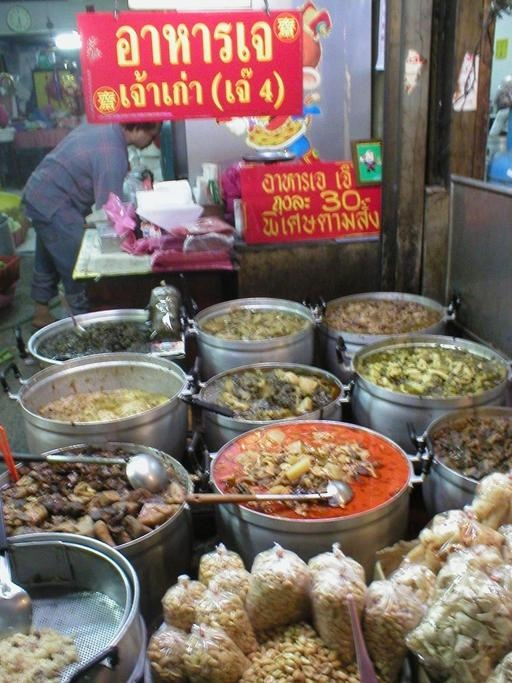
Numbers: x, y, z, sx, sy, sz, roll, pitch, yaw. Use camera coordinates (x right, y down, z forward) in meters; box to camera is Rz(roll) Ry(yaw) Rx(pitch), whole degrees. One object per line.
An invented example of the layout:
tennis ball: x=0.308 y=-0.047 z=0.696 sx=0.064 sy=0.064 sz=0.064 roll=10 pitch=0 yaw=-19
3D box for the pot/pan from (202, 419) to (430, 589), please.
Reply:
pot/pan: x=0.293 y=0.584 z=1.932 sx=0.627 sy=0.234 sz=0.571 roll=-1 pitch=23 yaw=3

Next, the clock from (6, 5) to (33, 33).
clock: x=-1.447 y=-2.009 z=2.981 sx=0.164 sy=0.175 sz=0.019 roll=0 pitch=15 yaw=1

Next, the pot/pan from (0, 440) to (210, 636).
pot/pan: x=-0.527 y=0.777 z=1.942 sx=0.590 sy=0.508 sz=0.691 roll=-2 pitch=11 yaw=-3

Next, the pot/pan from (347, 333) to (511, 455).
pot/pan: x=0.949 y=0.223 z=2.699 sx=0.707 sy=0.263 sz=0.662 roll=-3 pitch=21 yaw=3

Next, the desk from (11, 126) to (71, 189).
desk: x=-1.428 y=-1.206 z=3.310 sx=0.435 sy=0.318 sz=0.402 roll=-3 pitch=-4 yaw=-34

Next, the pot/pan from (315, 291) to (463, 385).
pot/pan: x=0.857 y=-0.153 z=3.541 sx=0.737 sy=0.456 sz=0.858 roll=-11 pitch=17 yaw=-29
